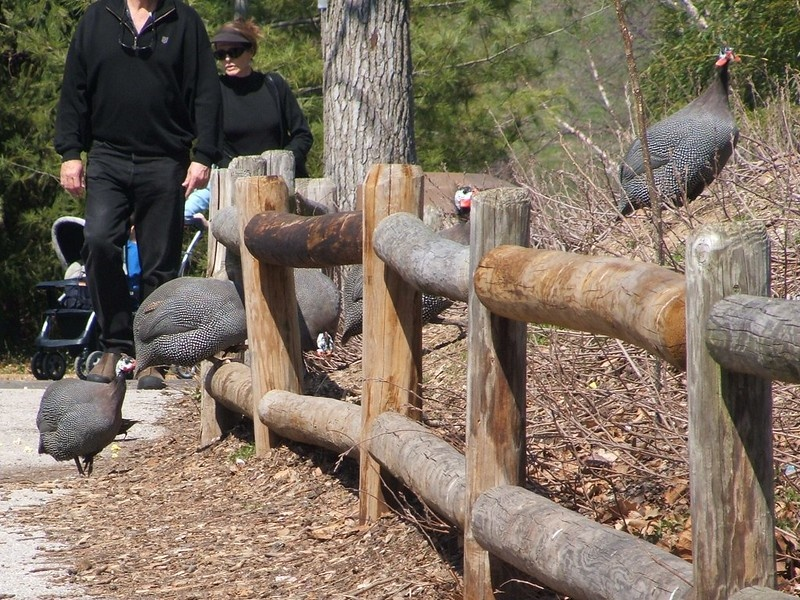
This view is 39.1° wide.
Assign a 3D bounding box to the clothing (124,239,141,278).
[{"bbox_3d":[-2.690,-0.423,11.222,0.202,0.559,0.077,-3,49,-11],"label":"clothing"}]

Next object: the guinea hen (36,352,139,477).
[{"bbox_3d":[-1.874,0.689,6.691,0.636,0.793,0.444,5,4,17],"label":"guinea hen"}]

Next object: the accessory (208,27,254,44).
[{"bbox_3d":[-1.240,-1.923,8.205,0.156,0.079,0.231,1,-2,17],"label":"accessory"}]

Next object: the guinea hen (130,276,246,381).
[{"bbox_3d":[-1.254,0.127,6.793,0.745,0.553,0.468,-8,4,-7],"label":"guinea hen"}]

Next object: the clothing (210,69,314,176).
[{"bbox_3d":[-1.038,-1.204,8.463,0.844,1.046,0.668,-3,3,-15],"label":"clothing"}]

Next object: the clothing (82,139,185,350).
[{"bbox_3d":[-1.720,-0.317,7.304,0.572,1.525,0.531,7,-34,-18],"label":"clothing"}]
